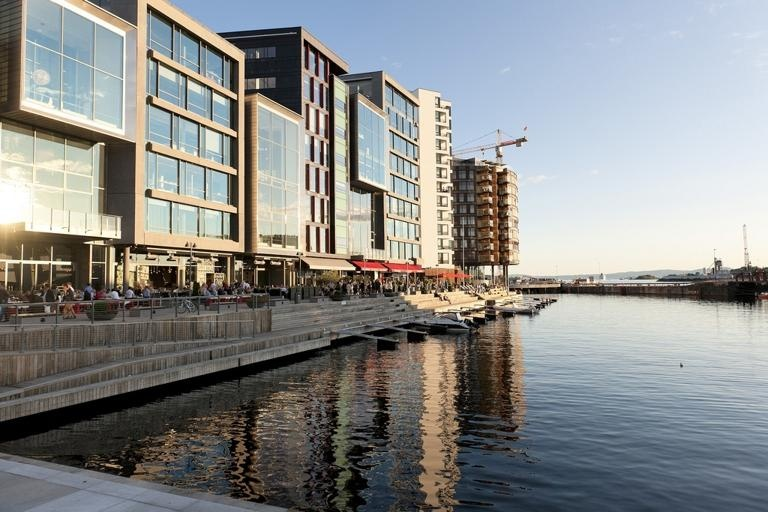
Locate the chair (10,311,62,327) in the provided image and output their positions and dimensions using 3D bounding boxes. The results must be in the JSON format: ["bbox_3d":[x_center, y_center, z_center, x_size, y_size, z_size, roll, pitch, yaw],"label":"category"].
[{"bbox_3d":[-14.858,2.719,27.702,2.126,0.558,0.687,1,-4,-23],"label":"chair"}]
